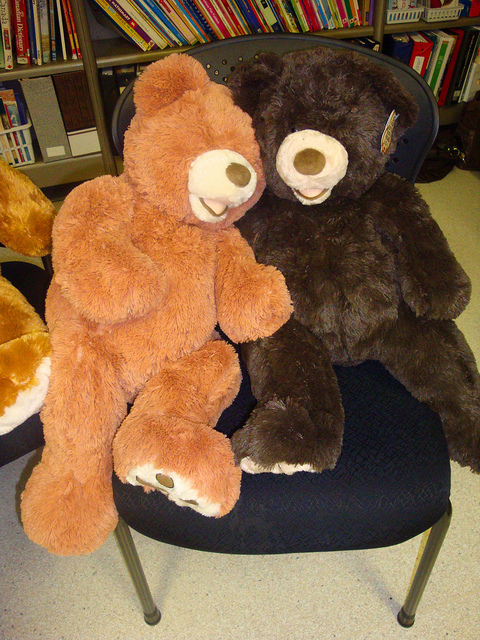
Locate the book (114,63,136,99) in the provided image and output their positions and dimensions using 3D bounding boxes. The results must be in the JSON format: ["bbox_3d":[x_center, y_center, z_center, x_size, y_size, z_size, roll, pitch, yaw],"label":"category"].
[{"bbox_3d":[-0.376,-0.788,1.891,0.072,0.108,0.200,-6,44,-7],"label":"book"}]

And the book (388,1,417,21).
[{"bbox_3d":[0.569,-1.096,2.005,0.080,0.052,0.040,-6,53,-4],"label":"book"}]

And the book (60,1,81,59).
[{"bbox_3d":[-0.513,-0.890,1.727,0.016,0.094,0.106,-15,63,-15],"label":"book"}]

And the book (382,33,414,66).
[{"bbox_3d":[0.604,-1.031,2.151,0.135,0.092,0.098,-25,50,-25],"label":"book"}]

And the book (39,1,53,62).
[{"bbox_3d":[-0.596,-0.895,1.741,0.021,0.140,0.102,-3,85,-11],"label":"book"}]

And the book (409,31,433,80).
[{"bbox_3d":[0.686,-1.027,2.216,0.085,0.125,0.135,3,39,-3],"label":"book"}]

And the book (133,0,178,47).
[{"bbox_3d":[-0.256,-0.928,1.795,0.034,0.204,0.010,36,92,37],"label":"book"}]

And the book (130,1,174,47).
[{"bbox_3d":[-0.275,-0.935,1.776,0.009,0.199,0.025,-49,47,6],"label":"book"}]

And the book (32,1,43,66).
[{"bbox_3d":[-0.615,-0.884,1.729,0.016,0.132,0.098,-5,66,-13],"label":"book"}]

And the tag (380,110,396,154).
[{"bbox_3d":[0.225,-0.286,0.863,0.014,0.059,0.039,13,46,11],"label":"tag"}]

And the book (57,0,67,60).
[{"bbox_3d":[-0.551,-0.907,1.759,0.014,0.138,0.101,-12,91,-9],"label":"book"}]

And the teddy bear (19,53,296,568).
[{"bbox_3d":[-0.121,-0.021,0.824,0.385,0.523,0.565,6,45,4],"label":"teddy bear"}]

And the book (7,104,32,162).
[{"bbox_3d":[-0.732,-0.637,1.901,0.081,0.112,0.037,-19,61,-14],"label":"book"}]

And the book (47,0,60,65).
[{"bbox_3d":[-0.578,-0.896,1.754,0.023,0.111,0.160,-6,3,-13],"label":"book"}]

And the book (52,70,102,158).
[{"bbox_3d":[-0.546,-0.694,1.904,0.202,0.195,0.186,-9,30,-12],"label":"book"}]

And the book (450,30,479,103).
[{"bbox_3d":[0.902,-1.028,2.272,0.039,0.230,0.204,17,52,6],"label":"book"}]

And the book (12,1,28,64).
[{"bbox_3d":[-0.661,-0.875,1.709,0.021,0.128,0.095,-6,65,-13],"label":"book"}]

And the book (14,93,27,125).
[{"bbox_3d":[-0.727,-0.706,1.873,0.019,0.104,0.070,-15,48,-14],"label":"book"}]
